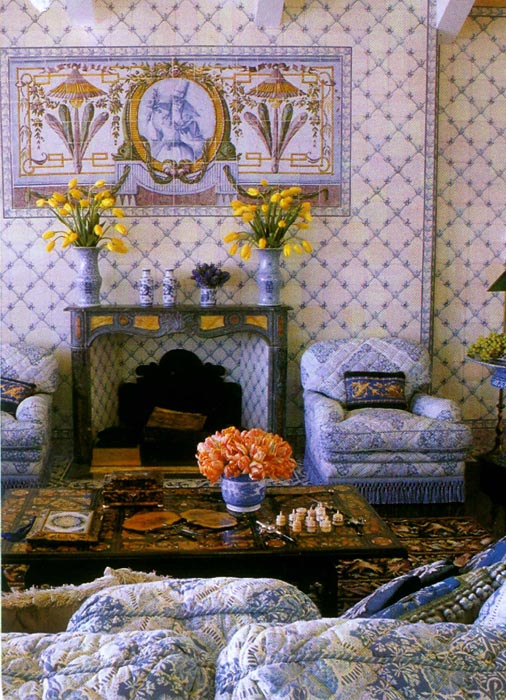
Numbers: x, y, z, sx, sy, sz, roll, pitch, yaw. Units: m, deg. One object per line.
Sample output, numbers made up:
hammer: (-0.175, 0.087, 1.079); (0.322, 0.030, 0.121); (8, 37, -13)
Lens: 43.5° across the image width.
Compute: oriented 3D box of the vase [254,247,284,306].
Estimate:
vase: (0.128, -0.553, 4.905); (0.199, 0.437, 0.256); (-2, -12, 1)

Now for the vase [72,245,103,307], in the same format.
vase: (-1.261, -0.540, 4.855); (0.180, 0.449, 0.251); (1, -12, -13)

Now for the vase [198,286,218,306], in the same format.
vase: (-0.351, -0.428, 4.999); (0.161, 0.134, 0.144); (0, 2, -10)

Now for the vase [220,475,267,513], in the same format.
vase: (-0.048, 0.647, 2.910); (0.198, 0.127, 0.179); (0, 0, -2)

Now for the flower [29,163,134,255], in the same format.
flower: (-1.271, -1.034, 4.962); (0.838, 0.651, 0.691); (-5, -6, 33)

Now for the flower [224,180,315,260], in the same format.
flower: (0.136, -1.020, 4.933); (0.725, 0.691, 0.692); (-2, -12, -2)

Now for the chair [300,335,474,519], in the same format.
chair: (0.929, 0.470, 4.691); (1.017, 0.979, 1.208); (0, -1, 2)

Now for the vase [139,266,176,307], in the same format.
vase: (-0.758, -0.511, 5.034); (0.387, 0.326, 0.138); (0, 8, -2)

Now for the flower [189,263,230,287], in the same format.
flower: (-0.333, -0.561, 4.966); (0.233, 0.138, 0.226); (2, -1, -38)

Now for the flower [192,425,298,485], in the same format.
flower: (-0.030, 0.472, 2.843); (0.328, 0.118, 0.304); (4, 2, -5)
